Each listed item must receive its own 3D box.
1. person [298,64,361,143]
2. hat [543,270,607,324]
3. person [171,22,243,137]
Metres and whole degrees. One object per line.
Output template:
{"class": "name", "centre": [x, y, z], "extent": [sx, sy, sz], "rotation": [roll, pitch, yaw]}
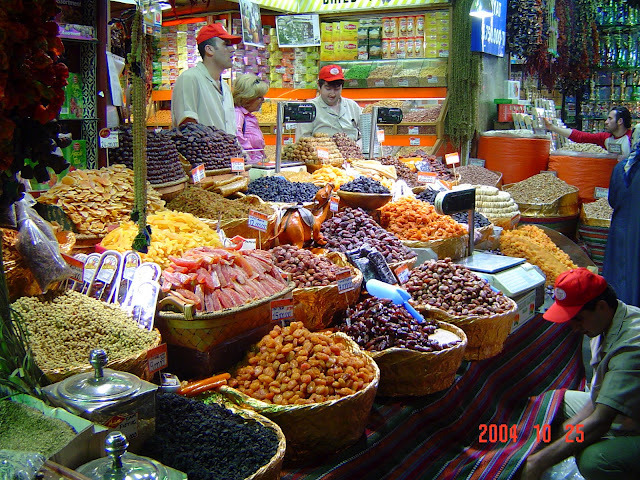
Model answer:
{"class": "person", "centre": [0.138, -1.615, 5.686], "extent": [0.986, 0.985, 0.548], "rotation": [-16, 27, -34]}
{"class": "hat", "centre": [1.283, 0.256, 2.362], "extent": [0.365, 0.187, 0.224], "rotation": [-28, 14, -11]}
{"class": "person", "centre": [-1.137, -1.501, 4.405], "extent": [0.586, 1.402, 0.661], "rotation": [15, 23, 32]}
